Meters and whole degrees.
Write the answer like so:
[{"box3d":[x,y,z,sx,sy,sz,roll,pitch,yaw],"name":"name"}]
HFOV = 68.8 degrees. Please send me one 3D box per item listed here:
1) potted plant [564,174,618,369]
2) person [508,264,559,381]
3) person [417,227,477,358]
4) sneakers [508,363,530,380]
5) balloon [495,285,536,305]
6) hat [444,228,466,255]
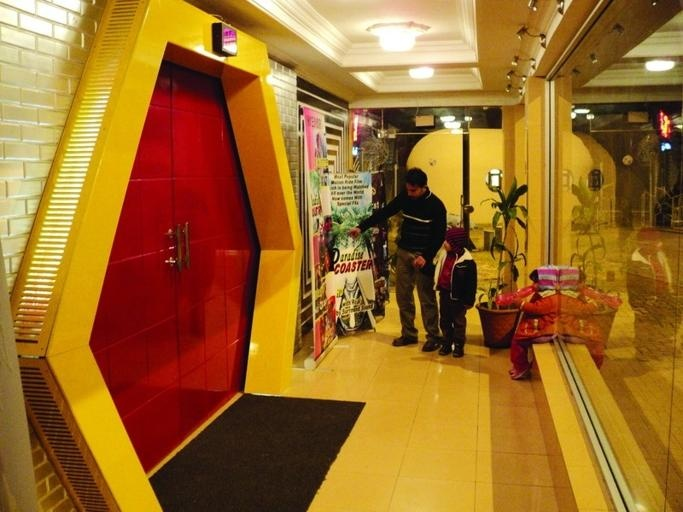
[{"box3d":[1.715,0.331,3.504,0.372,0.989,0.331,-4,-41,31],"name":"potted plant"},{"box3d":[1.790,0.616,4.611,0.420,1.061,0.324,1,8,12],"name":"person"},{"box3d":[1.149,0.386,5.087,0.405,1.353,0.295,1,8,11],"name":"person"},{"box3d":[1.645,1.093,4.664,0.251,0.119,0.091,-1,7,7],"name":"sneakers"},{"box3d":[1.602,0.365,4.803,0.182,0.162,0.470,7,-6,-30],"name":"balloon"},{"box3d":[1.190,-0.142,4.968,0.223,0.279,0.226,10,14,44],"name":"hat"}]
